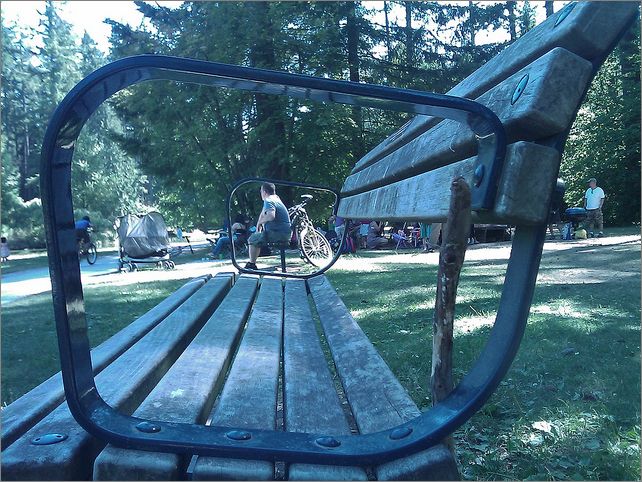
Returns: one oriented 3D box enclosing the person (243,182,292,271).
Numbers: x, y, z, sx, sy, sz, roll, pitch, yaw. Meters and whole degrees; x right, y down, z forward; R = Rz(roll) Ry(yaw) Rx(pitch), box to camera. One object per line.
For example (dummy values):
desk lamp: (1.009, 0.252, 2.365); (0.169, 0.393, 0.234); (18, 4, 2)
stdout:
person: (-0.857, -0.236, 7.066); (0.709, 1.388, 0.578); (-3, -7, 31)
